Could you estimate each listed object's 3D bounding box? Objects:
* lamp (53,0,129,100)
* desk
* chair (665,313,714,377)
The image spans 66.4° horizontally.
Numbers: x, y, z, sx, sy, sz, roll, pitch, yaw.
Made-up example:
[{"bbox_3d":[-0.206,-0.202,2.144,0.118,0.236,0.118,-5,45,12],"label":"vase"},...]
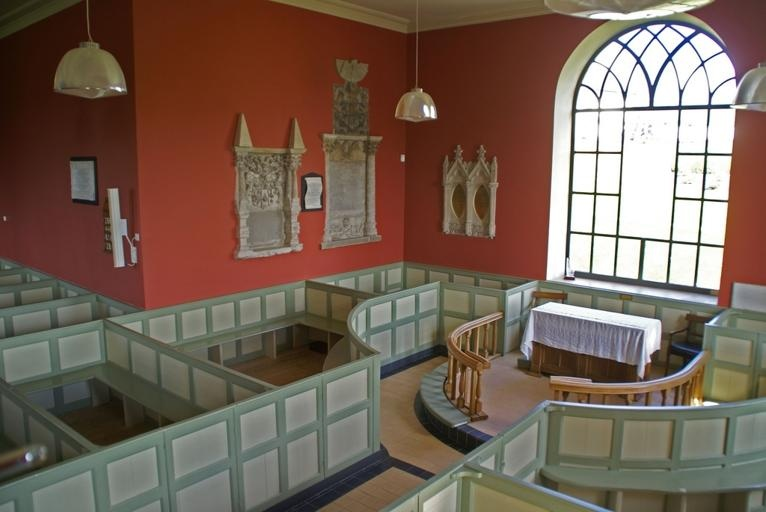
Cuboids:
[{"bbox_3d":[-3.584,-2.396,7.265,0.763,0.732,0.685,-1,10,-1],"label":"lamp"},{"bbox_3d":[3.697,1.560,10.471,2.172,1.139,1.245,8,14,36],"label":"desk"},{"bbox_3d":[5.344,1.592,10.259,0.697,1.094,0.769,5,11,29],"label":"chair"}]
